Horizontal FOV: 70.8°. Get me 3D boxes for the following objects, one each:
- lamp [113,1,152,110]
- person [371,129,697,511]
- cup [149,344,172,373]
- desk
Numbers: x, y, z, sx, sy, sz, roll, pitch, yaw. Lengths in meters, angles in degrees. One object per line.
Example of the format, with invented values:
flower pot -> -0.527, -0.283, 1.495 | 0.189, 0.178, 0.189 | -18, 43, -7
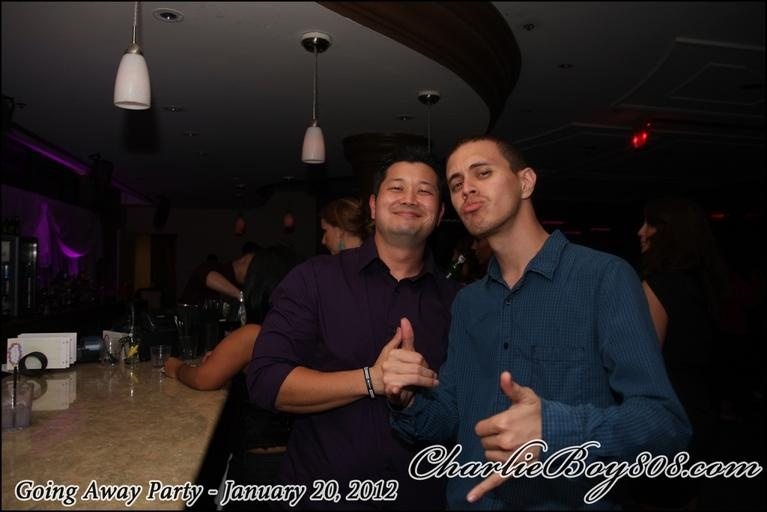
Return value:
lamp -> -1.802, -1.451, 3.886 | 0.213, 0.884, 0.687 | 0, -4, -25
person -> 0.576, 0.282, 2.223 | 1.090, 1.615, 0.526 | -4, -4, 39
cup -> -1.504, 0.694, 3.673 | 0.167, 0.170, 0.155 | 2, -4, 0
desk -> -1.282, 0.872, 2.506 | 0.519, 0.174, 0.747 | 7, 7, -8
